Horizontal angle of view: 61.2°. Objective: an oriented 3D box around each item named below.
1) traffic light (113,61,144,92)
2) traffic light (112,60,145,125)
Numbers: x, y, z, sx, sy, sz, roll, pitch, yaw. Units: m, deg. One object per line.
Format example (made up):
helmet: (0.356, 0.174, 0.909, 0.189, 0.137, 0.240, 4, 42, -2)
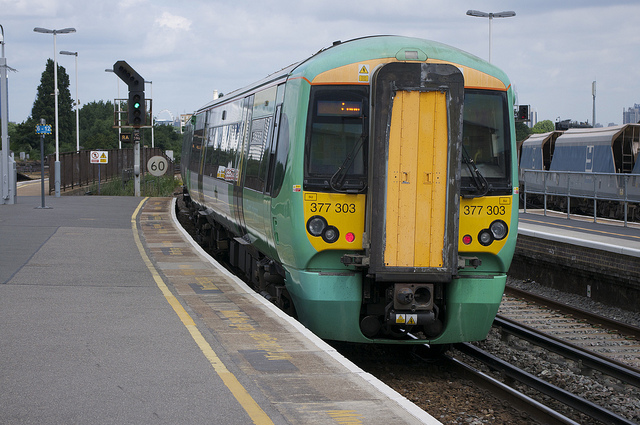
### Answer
traffic light: (-8.548, -6.003, 24.030, 1.198, 1.348, 0.628, 2, 6, 18)
traffic light: (-8.491, -5.291, 24.119, 1.104, 2.757, 0.750, -1, 5, -15)
